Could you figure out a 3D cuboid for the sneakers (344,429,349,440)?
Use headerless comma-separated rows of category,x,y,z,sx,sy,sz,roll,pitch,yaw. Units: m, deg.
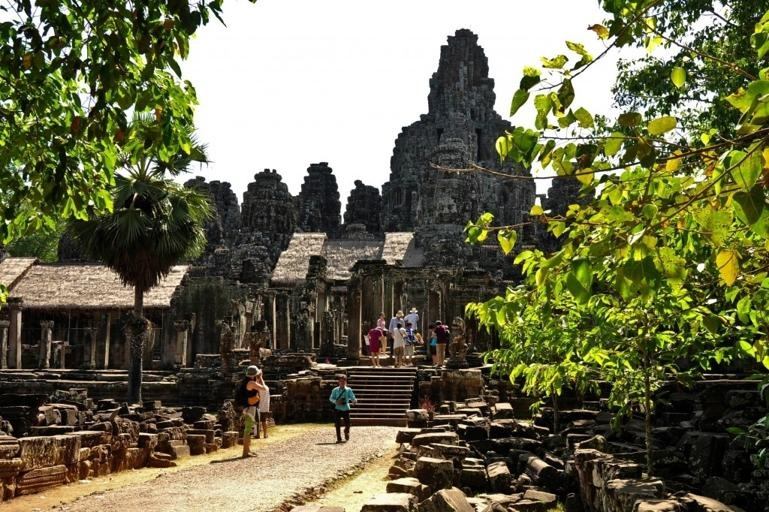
sneakers,-0.846,4.110,18.642,0.089,0.261,0.113,-1,-9,-4

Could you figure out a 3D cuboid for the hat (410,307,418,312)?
hat,1.299,2.338,34.864,0.407,0.161,0.456,1,-16,-3

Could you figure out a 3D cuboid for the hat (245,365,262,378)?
hat,-2.748,2.452,17.154,0.341,0.185,0.484,0,1,-2
